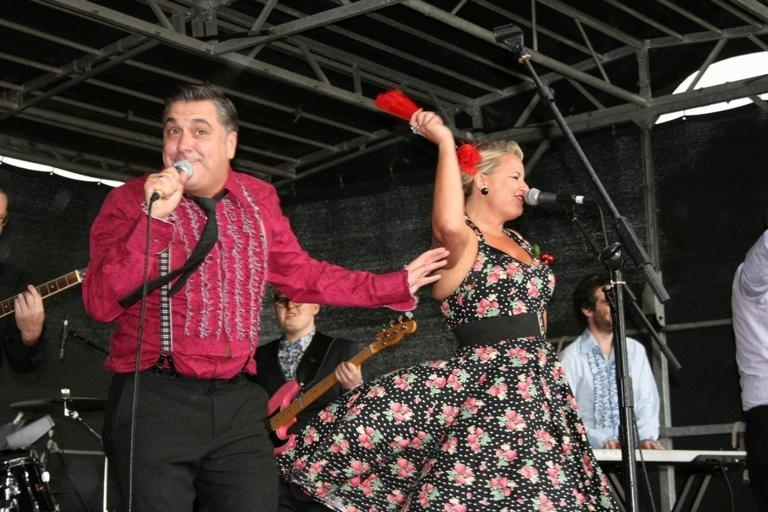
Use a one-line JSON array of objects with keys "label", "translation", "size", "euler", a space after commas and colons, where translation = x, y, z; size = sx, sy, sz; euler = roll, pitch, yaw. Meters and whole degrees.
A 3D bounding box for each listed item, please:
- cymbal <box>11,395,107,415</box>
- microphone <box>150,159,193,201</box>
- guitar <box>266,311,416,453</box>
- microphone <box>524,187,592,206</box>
[{"label": "cymbal", "translation": [-2.715, 1.241, 7.429], "size": [0.684, 0.140, 0.597], "euler": [8, -17, -27]}, {"label": "microphone", "translation": [-1.003, -0.348, 4.128], "size": [0.095, 0.281, 0.081], "euler": [36, -31, 18]}, {"label": "guitar", "translation": [-0.312, 0.897, 6.320], "size": [1.661, 0.514, 0.187], "euler": [-29, -48, 1]}, {"label": "microphone", "translation": [1.090, -0.333, 5.320], "size": [0.550, 0.104, 0.121], "euler": [2, 23, -11]}]
